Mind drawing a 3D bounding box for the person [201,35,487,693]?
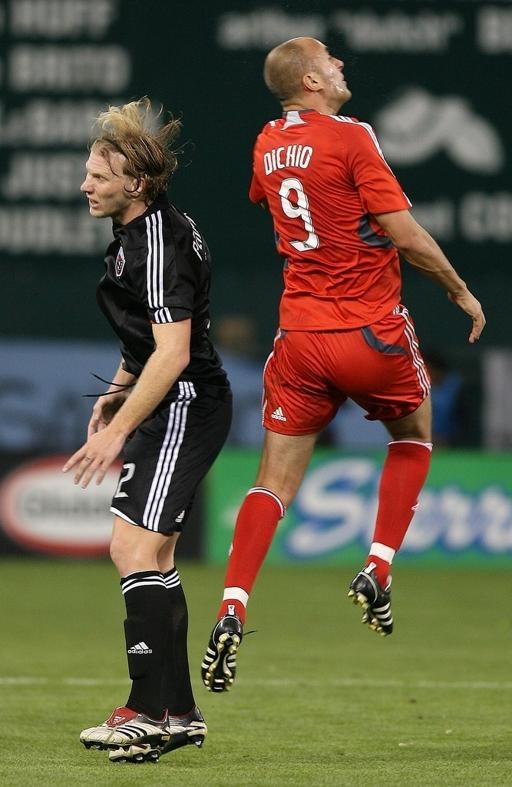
[{"bbox_3d":[0.245,-0.177,3.110,0.823,1.813,0.681,11,16,15],"label":"person"}]

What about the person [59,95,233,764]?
[{"bbox_3d":[-0.283,0.142,2.824,0.500,1.874,0.876,4,15,-11],"label":"person"}]

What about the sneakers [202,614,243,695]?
[{"bbox_3d":[-0.093,0.723,2.783,0.102,0.223,0.125,11,-30,-1],"label":"sneakers"}]

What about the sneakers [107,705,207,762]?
[{"bbox_3d":[-0.243,0.941,2.748,0.310,0.127,0.099,-4,-21,-43],"label":"sneakers"}]

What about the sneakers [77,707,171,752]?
[{"bbox_3d":[-0.333,0.872,2.618,0.261,0.103,0.088,4,-32,-17],"label":"sneakers"}]
